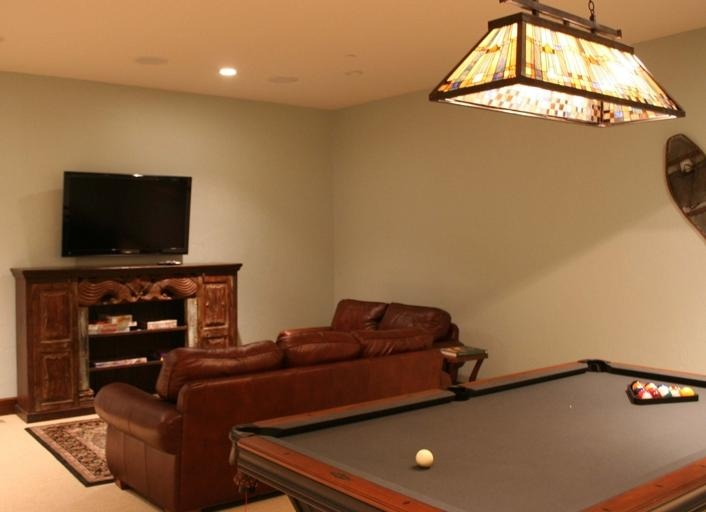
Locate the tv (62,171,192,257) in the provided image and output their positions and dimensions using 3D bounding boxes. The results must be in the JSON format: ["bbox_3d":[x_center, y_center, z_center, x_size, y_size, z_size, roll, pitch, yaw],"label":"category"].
[{"bbox_3d":[-2.621,-0.487,6.154,1.093,0.723,0.084,0,5,-38],"label":"tv"}]

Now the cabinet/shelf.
[{"bbox_3d":[-2.330,0.823,5.273,1.681,0.965,0.427,-1,1,-42],"label":"cabinet/shelf"}]

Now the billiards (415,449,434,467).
[{"bbox_3d":[0.291,0.789,2.152,0.065,0.061,0.064,4,2,32],"label":"billiards"}]
